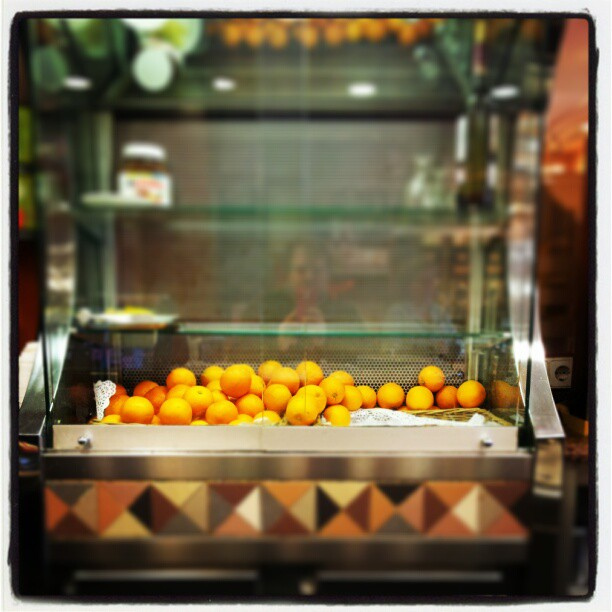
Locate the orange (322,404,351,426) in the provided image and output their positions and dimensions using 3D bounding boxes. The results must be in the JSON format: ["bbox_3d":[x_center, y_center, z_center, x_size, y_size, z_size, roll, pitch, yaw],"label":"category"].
[{"bbox_3d":[0.076,0.263,1.719,0.047,0.052,0.049,2,-7,-9],"label":"orange"}]

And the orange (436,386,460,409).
[{"bbox_3d":[0.364,0.238,1.816,0.050,0.060,0.047,-17,13,-32],"label":"orange"}]

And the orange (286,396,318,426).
[{"bbox_3d":[-0.011,0.252,1.691,0.065,0.072,0.064,2,4,3],"label":"orange"}]

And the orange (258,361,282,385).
[{"bbox_3d":[-0.092,0.174,1.821,0.050,0.065,0.053,3,-12,-12],"label":"orange"}]

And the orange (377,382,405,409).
[{"bbox_3d":[0.219,0.231,1.821,0.058,0.065,0.072,17,10,-12],"label":"orange"}]

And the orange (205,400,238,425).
[{"bbox_3d":[-0.209,0.256,1.746,0.055,0.055,0.057,-21,-29,-35],"label":"orange"}]

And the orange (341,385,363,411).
[{"bbox_3d":[0.115,0.230,1.770,0.054,0.070,0.055,9,-13,-24],"label":"orange"}]

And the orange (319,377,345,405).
[{"bbox_3d":[0.067,0.206,1.746,0.054,0.073,0.058,-5,1,12],"label":"orange"}]

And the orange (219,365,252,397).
[{"bbox_3d":[-0.173,0.185,1.788,0.065,0.087,0.072,6,1,10],"label":"orange"}]

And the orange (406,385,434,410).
[{"bbox_3d":[0.291,0.235,1.804,0.054,0.069,0.057,12,-33,-30],"label":"orange"}]

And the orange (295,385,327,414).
[{"bbox_3d":[0.021,0.211,1.743,0.063,0.063,0.075,32,20,27],"label":"orange"}]

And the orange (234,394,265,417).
[{"bbox_3d":[-0.138,0.244,1.739,0.051,0.067,0.054,-2,-15,3],"label":"orange"}]

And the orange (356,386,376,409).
[{"bbox_3d":[0.160,0.234,1.817,0.047,0.060,0.050,0,-17,-7],"label":"orange"}]

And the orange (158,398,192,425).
[{"bbox_3d":[-0.319,0.245,1.698,0.061,0.081,0.065,-1,9,-12],"label":"orange"}]

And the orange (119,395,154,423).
[{"bbox_3d":[-0.406,0.254,1.706,0.061,0.067,0.062,8,5,-1],"label":"orange"}]

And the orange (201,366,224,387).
[{"bbox_3d":[-0.246,0.178,1.838,0.047,0.051,0.057,-9,36,-23],"label":"orange"}]

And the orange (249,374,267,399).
[{"bbox_3d":[-0.122,0.201,1.779,0.044,0.058,0.047,1,-9,-10],"label":"orange"}]

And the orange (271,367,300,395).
[{"bbox_3d":[-0.047,0.188,1.771,0.058,0.072,0.061,5,-2,-44],"label":"orange"}]

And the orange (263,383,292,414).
[{"bbox_3d":[-0.072,0.226,1.735,0.060,0.078,0.063,2,1,-26],"label":"orange"}]

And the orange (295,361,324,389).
[{"bbox_3d":[0.009,0.173,1.845,0.069,0.062,0.060,-6,-17,-31],"label":"orange"}]

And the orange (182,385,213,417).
[{"bbox_3d":[-0.262,0.231,1.729,0.062,0.079,0.068,2,-1,-1],"label":"orange"}]

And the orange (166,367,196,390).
[{"bbox_3d":[-0.322,0.182,1.819,0.052,0.068,0.056,-7,24,36],"label":"orange"}]

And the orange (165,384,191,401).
[{"bbox_3d":[-0.321,0.212,1.755,0.042,0.042,0.050,35,-18,-23],"label":"orange"}]

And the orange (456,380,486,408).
[{"bbox_3d":[0.413,0.218,1.800,0.058,0.077,0.063,6,5,-3],"label":"orange"}]
